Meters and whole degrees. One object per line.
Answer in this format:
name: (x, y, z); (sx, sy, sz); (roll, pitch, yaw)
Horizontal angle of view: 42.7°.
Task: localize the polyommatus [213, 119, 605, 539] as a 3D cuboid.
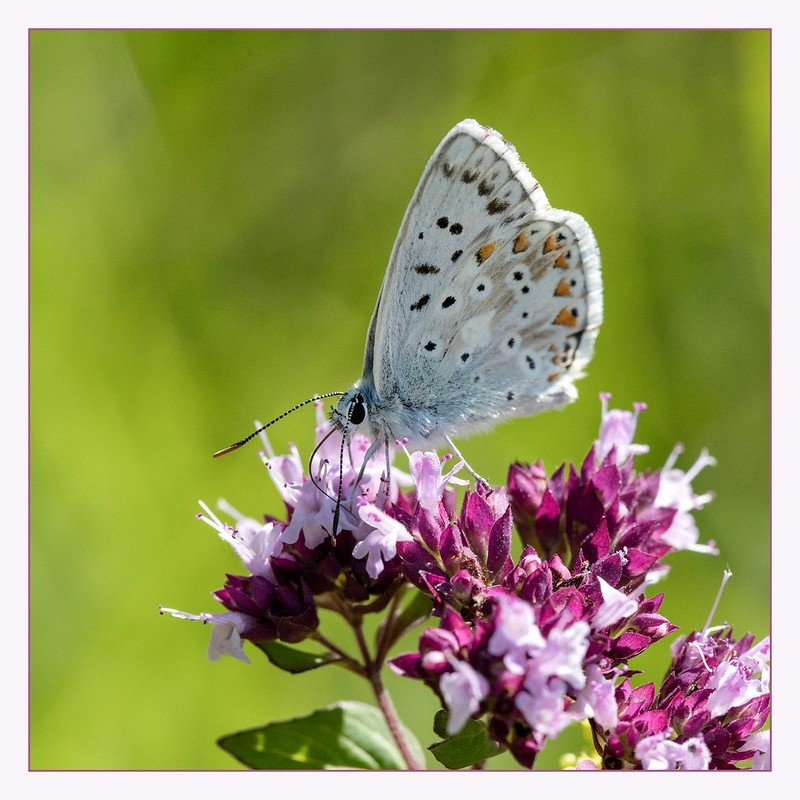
polyommatus: (0.317, -0.445, 5.501); (1.916, 1.885, 1.636); (-15, -5, 5)
